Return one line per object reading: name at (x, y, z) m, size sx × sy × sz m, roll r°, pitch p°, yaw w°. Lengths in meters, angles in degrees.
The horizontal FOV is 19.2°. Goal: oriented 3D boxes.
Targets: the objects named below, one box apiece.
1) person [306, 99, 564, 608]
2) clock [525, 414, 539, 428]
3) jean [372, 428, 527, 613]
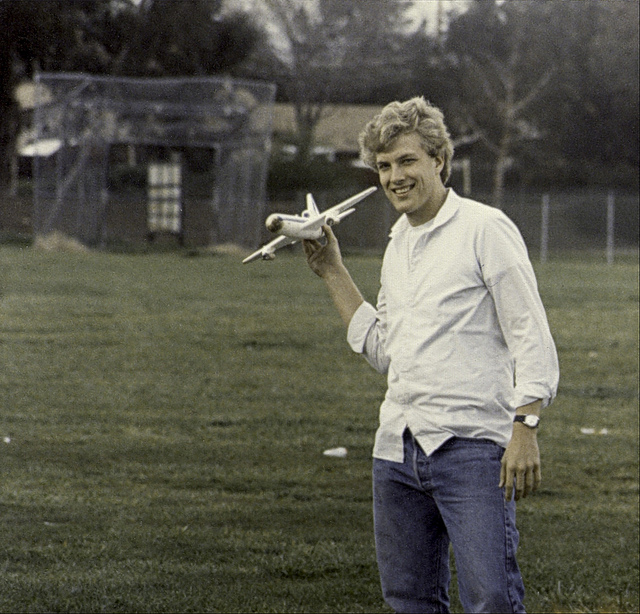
person at (0.567, 0.206, 7.887) m, size 0.849 × 2.155 × 0.377 m, roll 1°, pitch -1°, yaw 7°
clock at (0.862, 0.469, 7.655) m, size 0.038 × 0.053 × 0.050 m, roll -1°, pitch -14°, yaw 9°
jean at (0.544, 0.913, 7.923) m, size 0.329 × 0.794 × 0.608 m, roll 2°, pitch -2°, yaw -39°
